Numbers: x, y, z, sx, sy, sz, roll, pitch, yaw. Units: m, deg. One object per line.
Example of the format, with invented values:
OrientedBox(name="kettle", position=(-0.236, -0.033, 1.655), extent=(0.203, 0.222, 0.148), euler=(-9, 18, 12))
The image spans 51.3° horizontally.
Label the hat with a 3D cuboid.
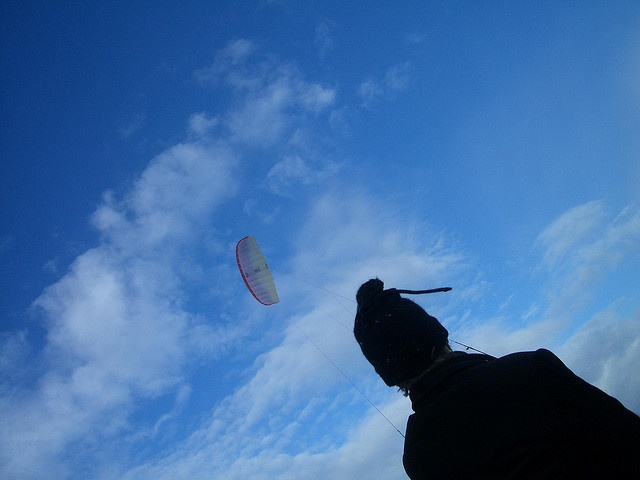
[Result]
OrientedBox(name="hat", position=(0.915, 1.124, 7.429), extent=(0.870, 1.206, 0.970), euler=(-39, -10, -5))
